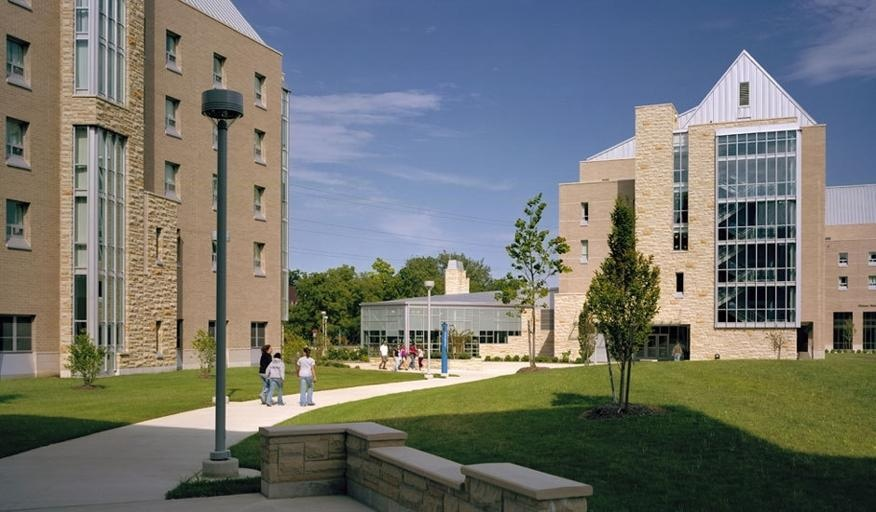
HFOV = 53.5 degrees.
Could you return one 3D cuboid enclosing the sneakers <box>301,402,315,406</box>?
[{"bbox_3d":[-7.326,8.315,48.637,0.705,0.273,0.225,-4,-5,12],"label":"sneakers"}]
